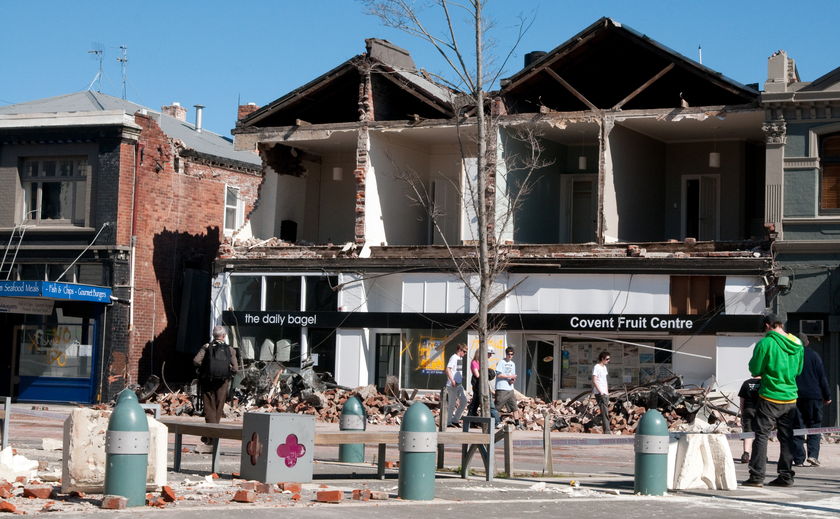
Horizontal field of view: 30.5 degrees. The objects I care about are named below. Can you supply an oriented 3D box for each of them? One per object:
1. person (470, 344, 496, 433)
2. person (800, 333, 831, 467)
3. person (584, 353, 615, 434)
[{"bbox_3d":[1.796,3.643,44.688,0.792,2.102,0.809,1,0,-17],"label":"person"},{"bbox_3d":[10.206,3.592,39.807,1.215,3.160,1.184,0,1,-15],"label":"person"},{"bbox_3d":[5.491,3.947,46.803,0.621,2.520,1.519,1,-7,6],"label":"person"}]
